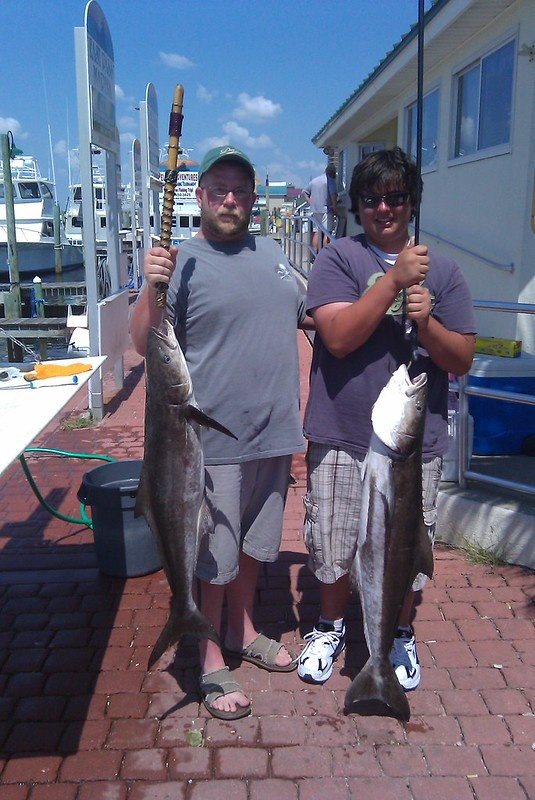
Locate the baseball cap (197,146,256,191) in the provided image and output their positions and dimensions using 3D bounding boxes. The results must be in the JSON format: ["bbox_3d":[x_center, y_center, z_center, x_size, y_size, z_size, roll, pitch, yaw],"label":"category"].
[{"bbox_3d":[-0.134,-0.789,2.039,0.200,0.105,0.212,-2,10,-6],"label":"baseball cap"}]

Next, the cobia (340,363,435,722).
[{"bbox_3d":[0.390,0.432,1.924,0.257,1.096,0.262,2,10,14],"label":"cobia"}]

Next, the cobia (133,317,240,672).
[{"bbox_3d":[-0.297,0.285,1.920,0.233,1.078,0.261,-3,10,-13],"label":"cobia"}]

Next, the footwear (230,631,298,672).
[{"bbox_3d":[-0.013,1.029,2.510,0.255,0.083,0.102,4,8,34],"label":"footwear"}]

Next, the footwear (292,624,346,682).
[{"bbox_3d":[0.208,1.023,2.440,0.099,0.114,0.264,1,-3,16],"label":"footwear"}]
